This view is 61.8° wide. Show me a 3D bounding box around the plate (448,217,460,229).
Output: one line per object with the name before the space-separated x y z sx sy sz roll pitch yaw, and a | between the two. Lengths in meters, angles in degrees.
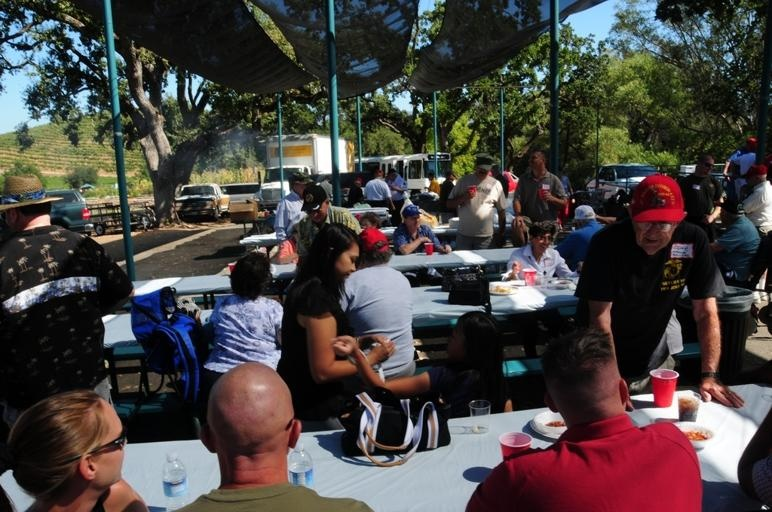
plate | 1.445 -0.708 13.725 0.290 0.275 0.299 -1 -2 17

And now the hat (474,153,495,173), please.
hat | 1.569 -1.563 10.443 0.287 0.169 0.412 6 34 0

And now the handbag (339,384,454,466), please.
handbag | 0.050 1.174 4.335 0.764 0.438 0.401 -4 -1 -5

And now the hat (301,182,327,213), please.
hat | -0.840 -0.707 7.601 0.232 0.195 0.337 7 34 16

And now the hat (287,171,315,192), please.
hat | -1.221 -1.060 9.118 0.375 0.208 0.311 -9 13 -5

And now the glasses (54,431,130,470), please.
glasses | -1.553 1.024 3.432 0.332 0.096 0.060 -10 10 -39

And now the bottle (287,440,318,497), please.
bottle | -0.557 1.349 4.206 0.160 0.205 0.414 -5 8 -8

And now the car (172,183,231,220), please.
car | -7.813 -2.291 27.476 1.450 1.552 3.699 0 2 1

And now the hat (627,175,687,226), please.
hat | 2.053 -0.445 4.880 0.272 0.225 0.405 5 19 18

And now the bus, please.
bus | 1.531 -4.461 36.493 2.164 2.756 9.091 -6 8 -44

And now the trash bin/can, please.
trash bin/can | 3.283 0.791 6.722 0.843 1.472 0.918 3 9 29
